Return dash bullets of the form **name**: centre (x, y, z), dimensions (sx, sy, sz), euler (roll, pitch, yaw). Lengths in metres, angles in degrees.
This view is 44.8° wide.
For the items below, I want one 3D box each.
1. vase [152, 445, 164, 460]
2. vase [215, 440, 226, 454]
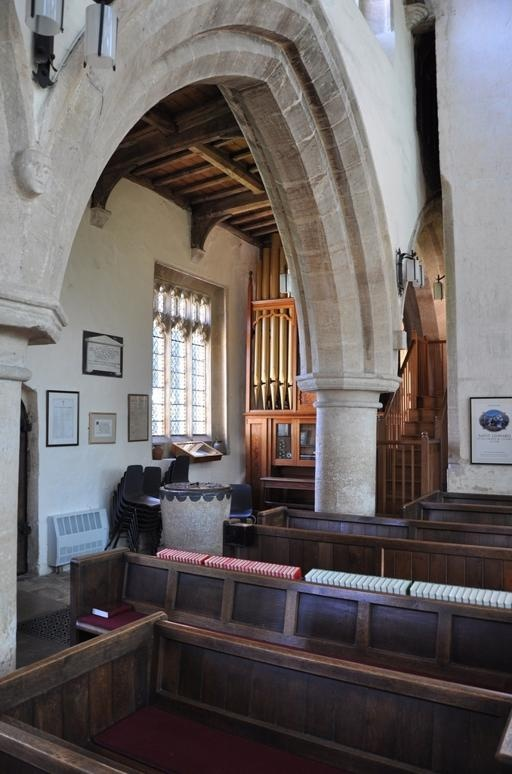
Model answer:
- **vase**: centre (-1.206, 0.797, 7.628), dimensions (0.127, 0.175, 0.144), euler (1, -11, -3)
- **vase**: centre (-0.513, 0.866, 9.074), dimensions (0.155, 0.219, 0.169), euler (2, 6, 26)
